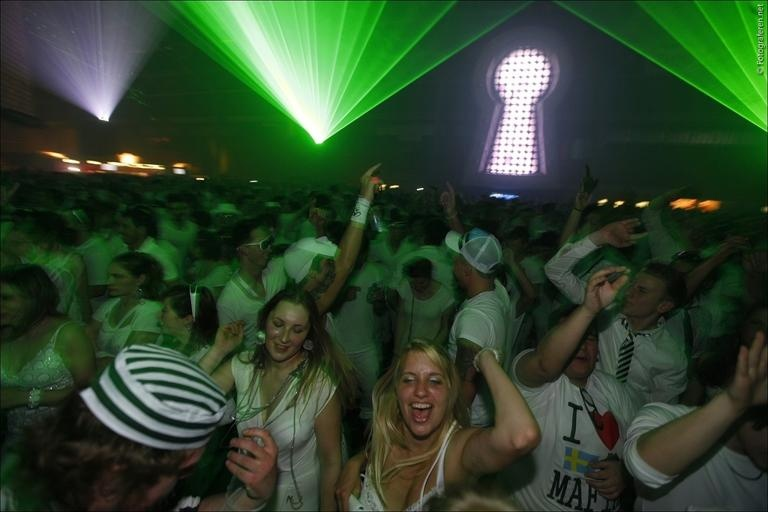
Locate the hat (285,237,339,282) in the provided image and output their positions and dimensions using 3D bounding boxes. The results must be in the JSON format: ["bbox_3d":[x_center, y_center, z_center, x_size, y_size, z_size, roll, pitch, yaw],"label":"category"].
[{"bbox_3d":[-0.689,0.023,5.360,0.484,0.468,0.359,9,8,-4],"label":"hat"}]

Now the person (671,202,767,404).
[{"bbox_3d":[3.390,0.299,5.384,0.340,1.309,0.723,14,7,-40],"label":"person"}]

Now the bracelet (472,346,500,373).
[{"bbox_3d":[0.797,0.786,4.254,0.212,0.102,0.253,-1,-7,6],"label":"bracelet"}]

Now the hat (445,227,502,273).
[{"bbox_3d":[0.834,-0.100,5.065,0.497,0.257,0.345,39,40,20],"label":"hat"}]

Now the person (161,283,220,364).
[{"bbox_3d":[-1.856,0.627,5.126,0.550,0.747,0.392,4,9,-9],"label":"person"}]
